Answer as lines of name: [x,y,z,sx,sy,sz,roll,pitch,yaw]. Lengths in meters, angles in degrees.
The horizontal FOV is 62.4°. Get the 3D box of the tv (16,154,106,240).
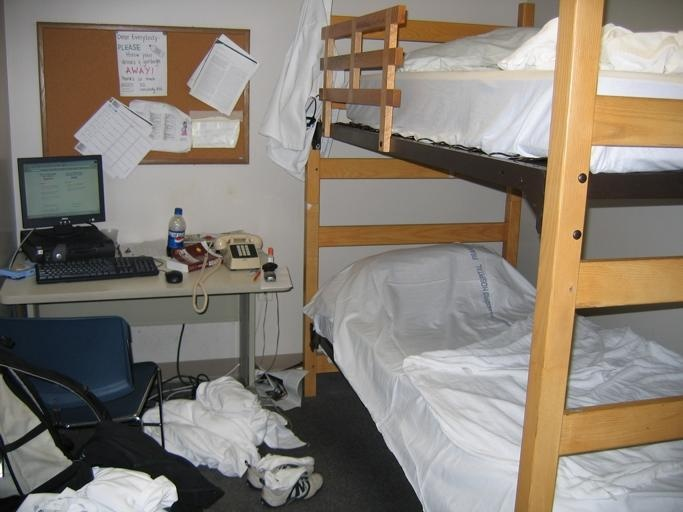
tv: [-1.453,-0.300,2.910,0.423,0.401,0.045,-7,15,-29]

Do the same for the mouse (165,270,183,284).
mouse: [-0.815,0.108,2.730,0.081,0.055,0.069,-3,8,-19]

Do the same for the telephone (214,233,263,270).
telephone: [-0.551,-0.029,3.022,0.289,0.130,0.282,-2,22,-25]

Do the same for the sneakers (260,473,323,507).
sneakers: [-0.210,1.053,2.606,0.299,0.129,0.113,-5,49,-37]

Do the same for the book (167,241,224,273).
book: [-0.775,0.008,2.938,0.183,0.051,0.182,-8,23,-25]
